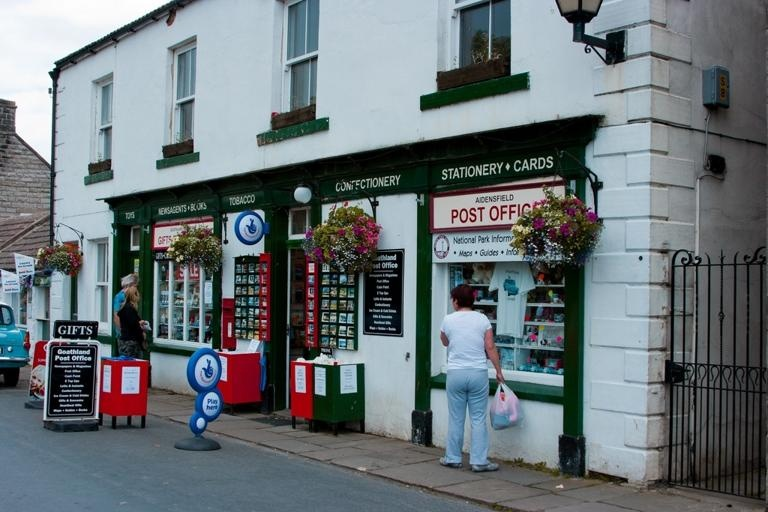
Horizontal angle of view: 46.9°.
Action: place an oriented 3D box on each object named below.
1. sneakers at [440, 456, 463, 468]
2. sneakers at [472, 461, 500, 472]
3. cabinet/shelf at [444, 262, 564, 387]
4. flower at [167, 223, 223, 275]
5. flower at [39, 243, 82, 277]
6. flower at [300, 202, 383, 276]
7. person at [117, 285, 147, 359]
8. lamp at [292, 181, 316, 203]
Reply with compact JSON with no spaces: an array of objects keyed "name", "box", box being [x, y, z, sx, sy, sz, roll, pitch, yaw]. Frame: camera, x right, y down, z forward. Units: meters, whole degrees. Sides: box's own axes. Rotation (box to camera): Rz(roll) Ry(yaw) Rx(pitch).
[{"name":"sneakers","box":[0.994,3.022,12.957,0.320,0.146,0.128,9,6,36]},{"name":"sneakers","box":[1.472,3.035,12.813,0.411,0.188,0.146,-3,3,-24]},{"name":"cabinet/shelf","box":[1.873,1.060,13.225,0.576,1.788,1.755,1,-2,-45]},{"name":"flower","box":[-3.715,-0.144,17.492,0.899,0.865,0.956,1,-2,4]},{"name":"flower","box":[-7.839,0.071,21.366,0.745,0.561,0.865,2,-1,38]},{"name":"flower","box":[-0.711,-0.284,15.002,1.184,1.232,1.200,5,24,7]},{"name":"person","box":[-4.501,1.158,15.718,0.502,1.302,0.478,1,-6,-17]},{"name":"lamp","box":[-1.430,-1.132,15.719,0.301,0.384,0.312,-2,-9,3]}]
